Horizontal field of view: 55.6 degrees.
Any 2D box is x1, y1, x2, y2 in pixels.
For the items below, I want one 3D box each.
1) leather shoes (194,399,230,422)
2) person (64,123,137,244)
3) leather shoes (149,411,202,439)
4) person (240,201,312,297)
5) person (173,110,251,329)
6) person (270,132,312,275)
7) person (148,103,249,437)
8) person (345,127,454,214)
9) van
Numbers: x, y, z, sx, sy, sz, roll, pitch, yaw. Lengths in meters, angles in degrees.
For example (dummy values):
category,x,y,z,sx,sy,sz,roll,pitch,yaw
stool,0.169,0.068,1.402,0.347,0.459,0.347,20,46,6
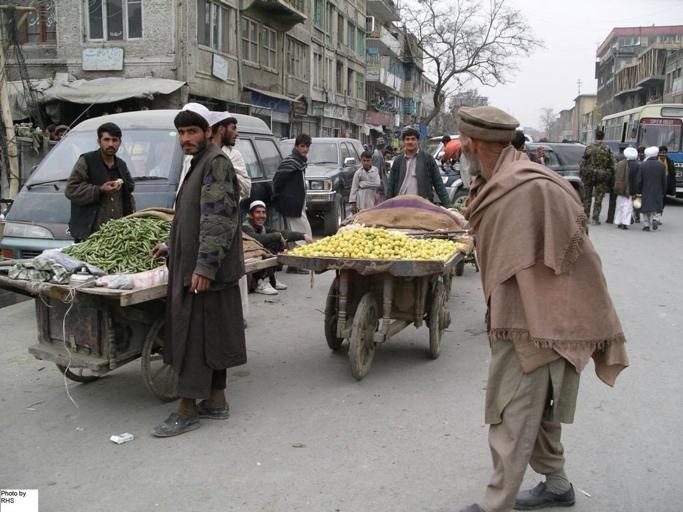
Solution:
category,x,y,z,sx,sy,sz,roll,pitch,yaw
leather shoes,-1.063,1.296,5.401,0.297,0.139,0.122,3,-1,9
person,-2.572,-0.727,7.043,0.581,1.477,0.601,4,13,7
leather shoes,-1.307,1.315,5.082,0.360,0.153,0.138,-3,3,-43
person,-1.042,0.122,8.887,0.909,1.531,0.932,-1,17,-38
person,-1.299,-0.309,6.525,0.796,2.322,0.785,5,18,-13
person,-0.798,-0.980,10.942,0.713,2.527,0.755,1,11,0
person,-1.043,0.111,5.367,0.899,2.391,0.806,0,2,5
person,1.094,-1.196,9.044,0.883,1.052,0.757,-2,11,-13
van,-3.031,-0.863,9.167,2.596,2.338,4.243,1,7,15
